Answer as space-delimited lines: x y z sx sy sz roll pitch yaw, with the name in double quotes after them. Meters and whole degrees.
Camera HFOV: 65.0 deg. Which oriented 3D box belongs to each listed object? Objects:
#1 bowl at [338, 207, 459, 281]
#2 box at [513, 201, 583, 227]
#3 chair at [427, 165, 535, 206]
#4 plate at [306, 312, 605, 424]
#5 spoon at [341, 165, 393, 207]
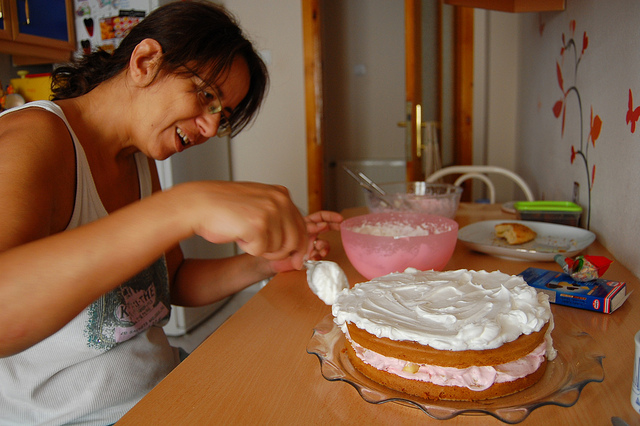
0.207 0.048 1.454 0.316 0.219 0.271 1 7 -18 "bowl"
0.834 -0.006 1.820 0.152 0.053 0.114 3 10 19 "box"
0.942 -0.164 2.846 0.559 0.333 0.699 -2 8 5 "chair"
0.292 0.326 1.129 0.634 0.094 0.346 1 13 10 "plate"
0.145 -0.096 1.709 0.110 0.113 0.246 -6 14 -17 "spoon"
